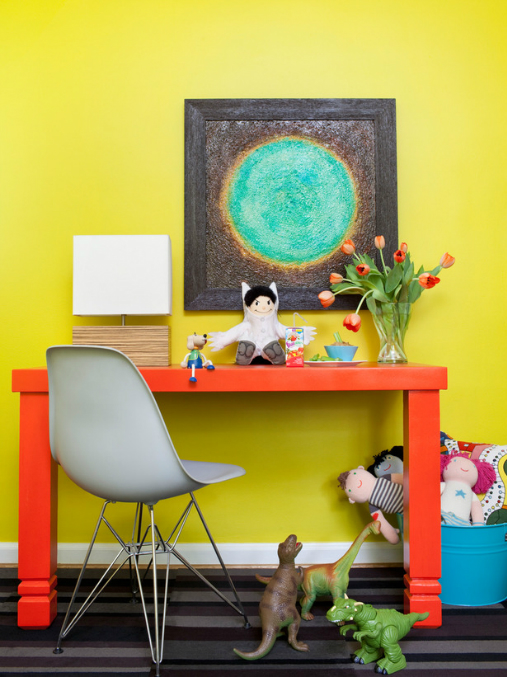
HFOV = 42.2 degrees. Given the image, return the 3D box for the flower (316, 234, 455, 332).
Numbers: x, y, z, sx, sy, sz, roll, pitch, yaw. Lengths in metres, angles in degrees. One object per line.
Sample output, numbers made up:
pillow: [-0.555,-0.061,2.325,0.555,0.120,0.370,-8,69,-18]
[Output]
flower: [0.455,-0.215,2.270,0.361,0.241,0.427,2,-2,5]

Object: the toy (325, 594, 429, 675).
toy: [0.305,0.753,1.691,0.321,0.177,0.133,5,-10,-22]

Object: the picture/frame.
picture/frame: [0.114,-0.470,2.340,0.787,0.739,0.063,0,1,-2]

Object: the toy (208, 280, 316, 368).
toy: [0.023,-0.049,2.218,0.351,0.281,0.195,1,3,-1]

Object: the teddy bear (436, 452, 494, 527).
teddy bear: [0.636,0.484,2.059,0.215,0.251,0.110,10,-26,14]

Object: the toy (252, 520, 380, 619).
toy: [0.182,0.680,1.919,0.364,0.262,0.118,-2,-9,8]

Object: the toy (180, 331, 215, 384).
toy: [-0.172,0.056,1.964,0.111,0.138,0.089,-5,8,-43]

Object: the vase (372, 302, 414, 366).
vase: [0.457,-0.021,2.226,0.121,0.200,0.157,1,6,18]

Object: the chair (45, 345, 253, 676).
chair: [-0.304,0.419,1.889,0.540,0.854,0.663,-2,6,-12]

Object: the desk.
desk: [0.046,0.519,2.258,1.206,0.730,0.396,-8,-9,25]
